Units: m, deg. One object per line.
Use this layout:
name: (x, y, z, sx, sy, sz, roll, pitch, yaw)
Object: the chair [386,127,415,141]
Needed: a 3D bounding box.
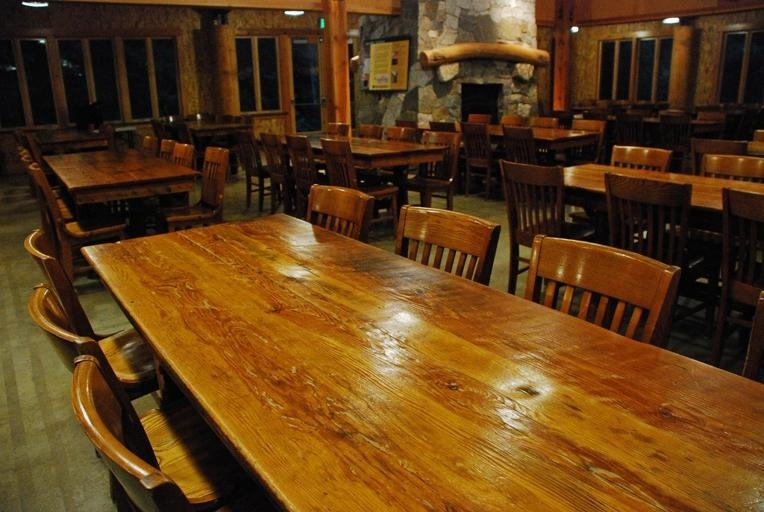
chair: (0.228, -1.503, 6.248, 0.215, 0.320, 0.239, 18, 24, 40)
